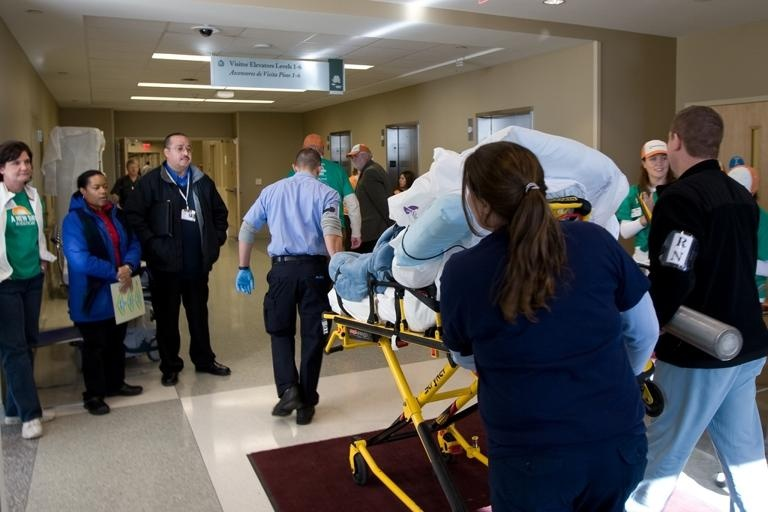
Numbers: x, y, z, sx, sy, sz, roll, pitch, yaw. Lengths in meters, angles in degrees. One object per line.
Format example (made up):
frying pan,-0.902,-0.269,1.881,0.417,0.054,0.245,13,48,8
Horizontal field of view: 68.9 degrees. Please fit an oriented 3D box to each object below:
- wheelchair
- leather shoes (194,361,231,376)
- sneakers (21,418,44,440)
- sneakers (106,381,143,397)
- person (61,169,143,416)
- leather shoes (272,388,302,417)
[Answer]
wheelchair,-2.907,0.630,5.886,0.734,1.292,0.939,1,-3,-20
leather shoes,-1.671,1.114,5.558,0.368,0.149,0.140,0,0,10
sneakers,-2.717,1.342,4.334,0.097,0.095,0.216,0,-6,-36
sneakers,-2.334,1.217,5.066,0.323,0.133,0.120,-3,10,-8
person,-2.454,0.272,4.890,0.444,2.019,0.706,3,11,18
leather shoes,-0.799,1.235,4.651,0.139,0.154,0.352,25,-43,-28
